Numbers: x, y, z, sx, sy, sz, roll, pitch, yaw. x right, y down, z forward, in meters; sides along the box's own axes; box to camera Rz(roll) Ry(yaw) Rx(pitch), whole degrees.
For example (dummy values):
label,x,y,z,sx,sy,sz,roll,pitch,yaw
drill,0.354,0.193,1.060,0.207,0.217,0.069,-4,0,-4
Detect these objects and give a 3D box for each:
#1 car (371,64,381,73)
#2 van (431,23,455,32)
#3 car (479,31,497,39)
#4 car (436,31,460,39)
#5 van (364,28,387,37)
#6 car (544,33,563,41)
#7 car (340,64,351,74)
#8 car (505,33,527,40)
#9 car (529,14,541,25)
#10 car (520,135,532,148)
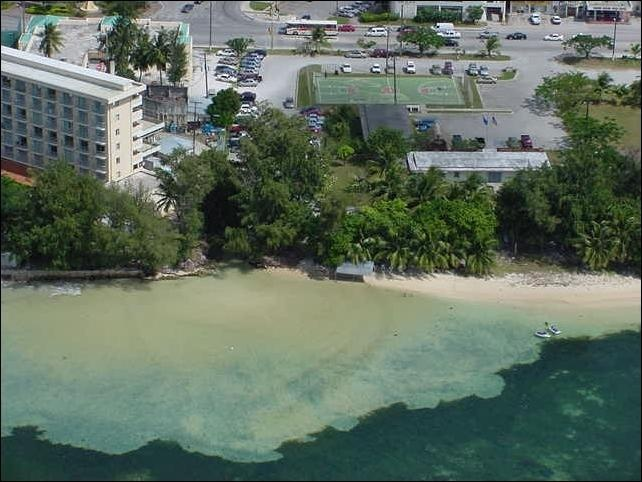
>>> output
label,x,y,z,sx,sy,sz,roll,pitch,yaw
car,10.784,-34.477,143.940,1.041,0.907,2.663,-1,29,1
van,26.960,-47.422,158.750,4.672,1.999,4.304,0,11,6
car,36.470,-45.412,157.638,3.616,1.626,2.919,6,35,-2
car,28.145,-45.141,156.609,4.048,1.997,1.908,-3,10,-8
van,12.197,-46.083,158.288,3.359,1.687,2.323,4,26,2
car,50.379,-44.472,156.459,2.797,1.413,2.095,6,24,4
car,4.907,-34.542,143.539,2.123,1.707,2.447,-1,10,3
car,42.808,-45.081,157.883,2.926,1.112,2.266,5,26,2
car,49.371,-51.144,166.032,2.304,2.675,2.756,-4,10,-12
car,32.867,-16.020,115.066,1.956,1.728,3.965,1,11,16
